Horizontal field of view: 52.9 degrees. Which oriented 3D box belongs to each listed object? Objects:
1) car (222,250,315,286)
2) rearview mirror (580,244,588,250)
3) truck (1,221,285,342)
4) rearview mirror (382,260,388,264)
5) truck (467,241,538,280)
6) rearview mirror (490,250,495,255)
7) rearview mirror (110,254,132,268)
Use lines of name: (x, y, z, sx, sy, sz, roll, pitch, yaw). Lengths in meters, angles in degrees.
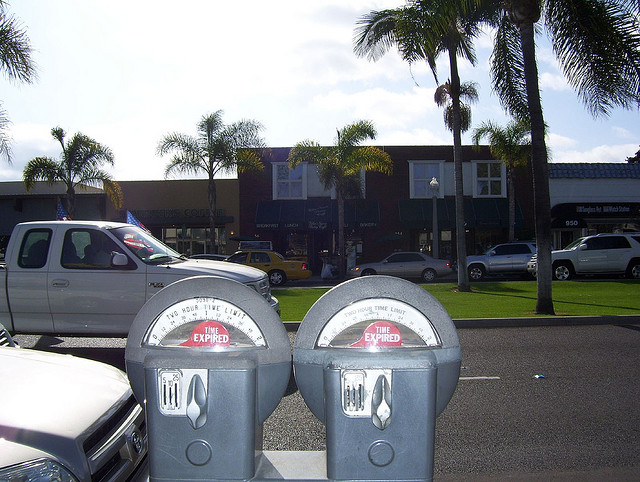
car: (-1.558, 0.758, 20.859, 2.366, 0.962, 1.143, 2, -2, -1)
rearview mirror: (7.889, 0.152, 19.238, 0.162, 0.186, 0.138, -4, 0, 7)
truck: (-2.098, 0.453, 8.345, 3.978, 1.770, 1.694, 0, 0, 3)
rearview mirror: (2.186, 0.686, 21.633, 0.138, 0.099, 0.285, 2, 5, 24)
truck: (6.081, 0.624, 21.844, 2.749, 1.522, 1.463, 0, -2, 5)
rearview mirror: (5.746, 0.390, 21.399, 0.127, 0.171, 0.085, 22, -24, -36)
rearview mirror: (-2.450, 0.238, 7.911, 0.171, 0.202, 0.165, 0, 24, -24)
